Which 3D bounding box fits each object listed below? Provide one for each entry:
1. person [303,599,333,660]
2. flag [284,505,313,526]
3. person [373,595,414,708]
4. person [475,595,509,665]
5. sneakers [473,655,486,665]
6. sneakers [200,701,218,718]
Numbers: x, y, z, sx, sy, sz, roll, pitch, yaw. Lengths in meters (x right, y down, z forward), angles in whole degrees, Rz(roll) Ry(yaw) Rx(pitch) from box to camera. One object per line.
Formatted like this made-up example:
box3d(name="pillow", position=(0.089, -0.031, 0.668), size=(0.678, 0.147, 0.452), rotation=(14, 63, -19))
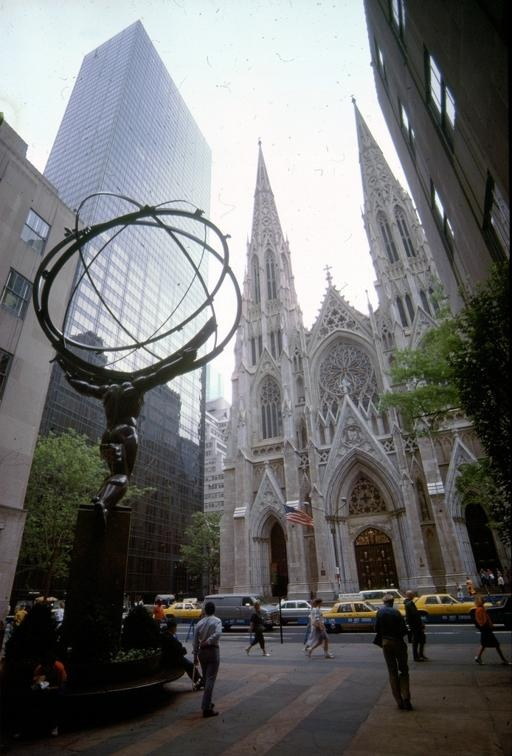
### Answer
box3d(name="person", position=(1.584, 6.682, 11.071), size=(0.631, 1.424, 2.927), rotation=(-6, -25, 6))
box3d(name="flag", position=(2.365, 8.102, 24.247), size=(1.272, 1.089, 1.704), rotation=(-4, -25, 0))
box3d(name="person", position=(1.844, 3.708, 5.618), size=(0.443, 1.240, 0.984), rotation=(-10, -25, 15))
box3d(name="person", position=(4.838, 5.392, 8.884), size=(0.577, 1.239, 2.381), rotation=(-14, -27, 22))
box3d(name="sneakers", position=(4.366, 5.605, 8.201), size=(0.140, 0.144, 0.465), rotation=(-14, -27, 21))
box3d(name="sneakers", position=(-0.598, 4.322, 5.360), size=(0.211, 0.124, 0.217), rotation=(-1, -25, -6))
